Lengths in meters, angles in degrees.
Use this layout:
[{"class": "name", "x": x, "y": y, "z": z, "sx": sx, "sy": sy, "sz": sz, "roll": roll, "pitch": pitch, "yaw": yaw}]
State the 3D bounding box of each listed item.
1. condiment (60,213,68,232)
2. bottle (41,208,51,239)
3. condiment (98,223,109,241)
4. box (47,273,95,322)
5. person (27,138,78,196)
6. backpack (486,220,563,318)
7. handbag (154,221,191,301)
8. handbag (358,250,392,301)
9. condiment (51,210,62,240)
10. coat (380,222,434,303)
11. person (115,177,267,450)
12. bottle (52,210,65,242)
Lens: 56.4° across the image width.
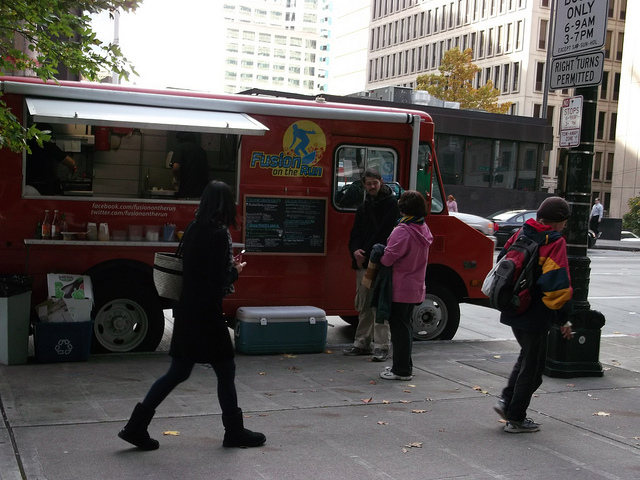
[{"class": "condiment", "x": -3.121, "y": -0.203, "z": 7.268, "sx": 0.083, "sy": 0.224, "sz": 0.115, "roll": -3, "pitch": 6, "yaw": -20}, {"class": "bottle", "x": -3.304, "y": -0.192, "z": 7.194, "sx": 0.116, "sy": 0.361, "sz": 0.146, "roll": -4, "pitch": 6, "yaw": -25}, {"class": "condiment", "x": -2.687, "y": -0.090, "z": 7.397, "sx": 0.122, "sy": 0.213, "sz": 0.151, "roll": -3, "pitch": 6, "yaw": -21}, {"class": "box", "x": -2.931, "y": 0.630, "z": 7.067, "sx": 0.522, "sy": 0.550, "sz": 0.462, "roll": 2, "pitch": 8, "yaw": -43}, {"class": "person", "x": -3.510, "y": -0.933, "z": 7.656, "sx": 0.455, "sy": 0.719, "sz": 0.495, "roll": -4, "pitch": 6, "yaw": -26}, {"class": "backpack", "x": 1.906, "y": 0.272, "z": 5.610, "sx": 0.523, "sy": 0.884, "sz": 0.471, "roll": 6, "pitch": 13, "yaw": -20}, {"class": "handbag", "x": -1.348, "y": 0.171, "z": 5.293, "sx": 0.300, "sy": 0.577, "sz": 0.402, "roll": 16, "pitch": -12, "yaw": -9}, {"class": "handbag", "x": 0.648, "y": 0.330, "z": 7.102, "sx": 0.460, "sy": 0.436, "sz": 0.176, "roll": -1, "pitch": -8, "yaw": 40}, {"class": "condiment", "x": -3.193, "y": -0.179, "z": 7.222, "sx": 0.120, "sy": 0.344, "sz": 0.164, "roll": -3, "pitch": 6, "yaw": -23}, {"class": "coat", "x": 1.019, "y": 0.266, "z": 6.887, "sx": 0.620, "sy": 0.923, "sz": 0.178, "roll": -3, "pitch": 6, "yaw": -21}, {"class": "person", "x": -0.965, "y": 0.639, "z": 4.827, "sx": 1.013, "sy": 2.190, "sz": 0.302, "roll": -2, "pitch": 6, "yaw": -6}, {"class": "bottle", "x": -3.168, "y": -0.177, "z": 7.226, "sx": 0.135, "sy": 0.350, "sz": 0.179, "roll": -3, "pitch": 6, "yaw": -22}]
